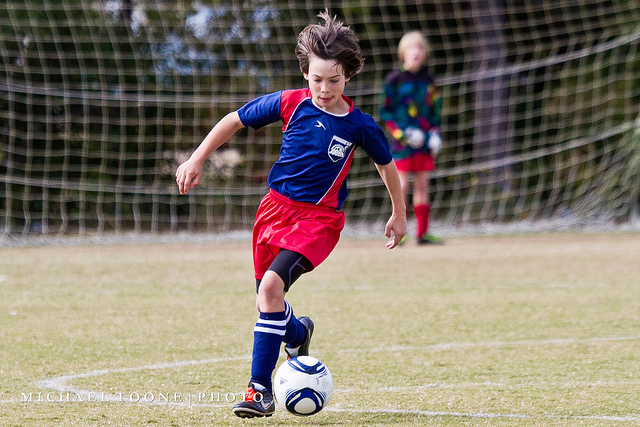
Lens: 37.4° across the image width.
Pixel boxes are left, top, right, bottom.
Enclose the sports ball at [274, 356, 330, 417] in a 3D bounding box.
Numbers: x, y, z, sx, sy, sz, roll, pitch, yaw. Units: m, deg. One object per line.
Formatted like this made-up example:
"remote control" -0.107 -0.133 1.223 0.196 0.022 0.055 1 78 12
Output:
"sports ball" -0.164 1.513 8.201 0.509 0.467 0.497 -3 -18 -1
